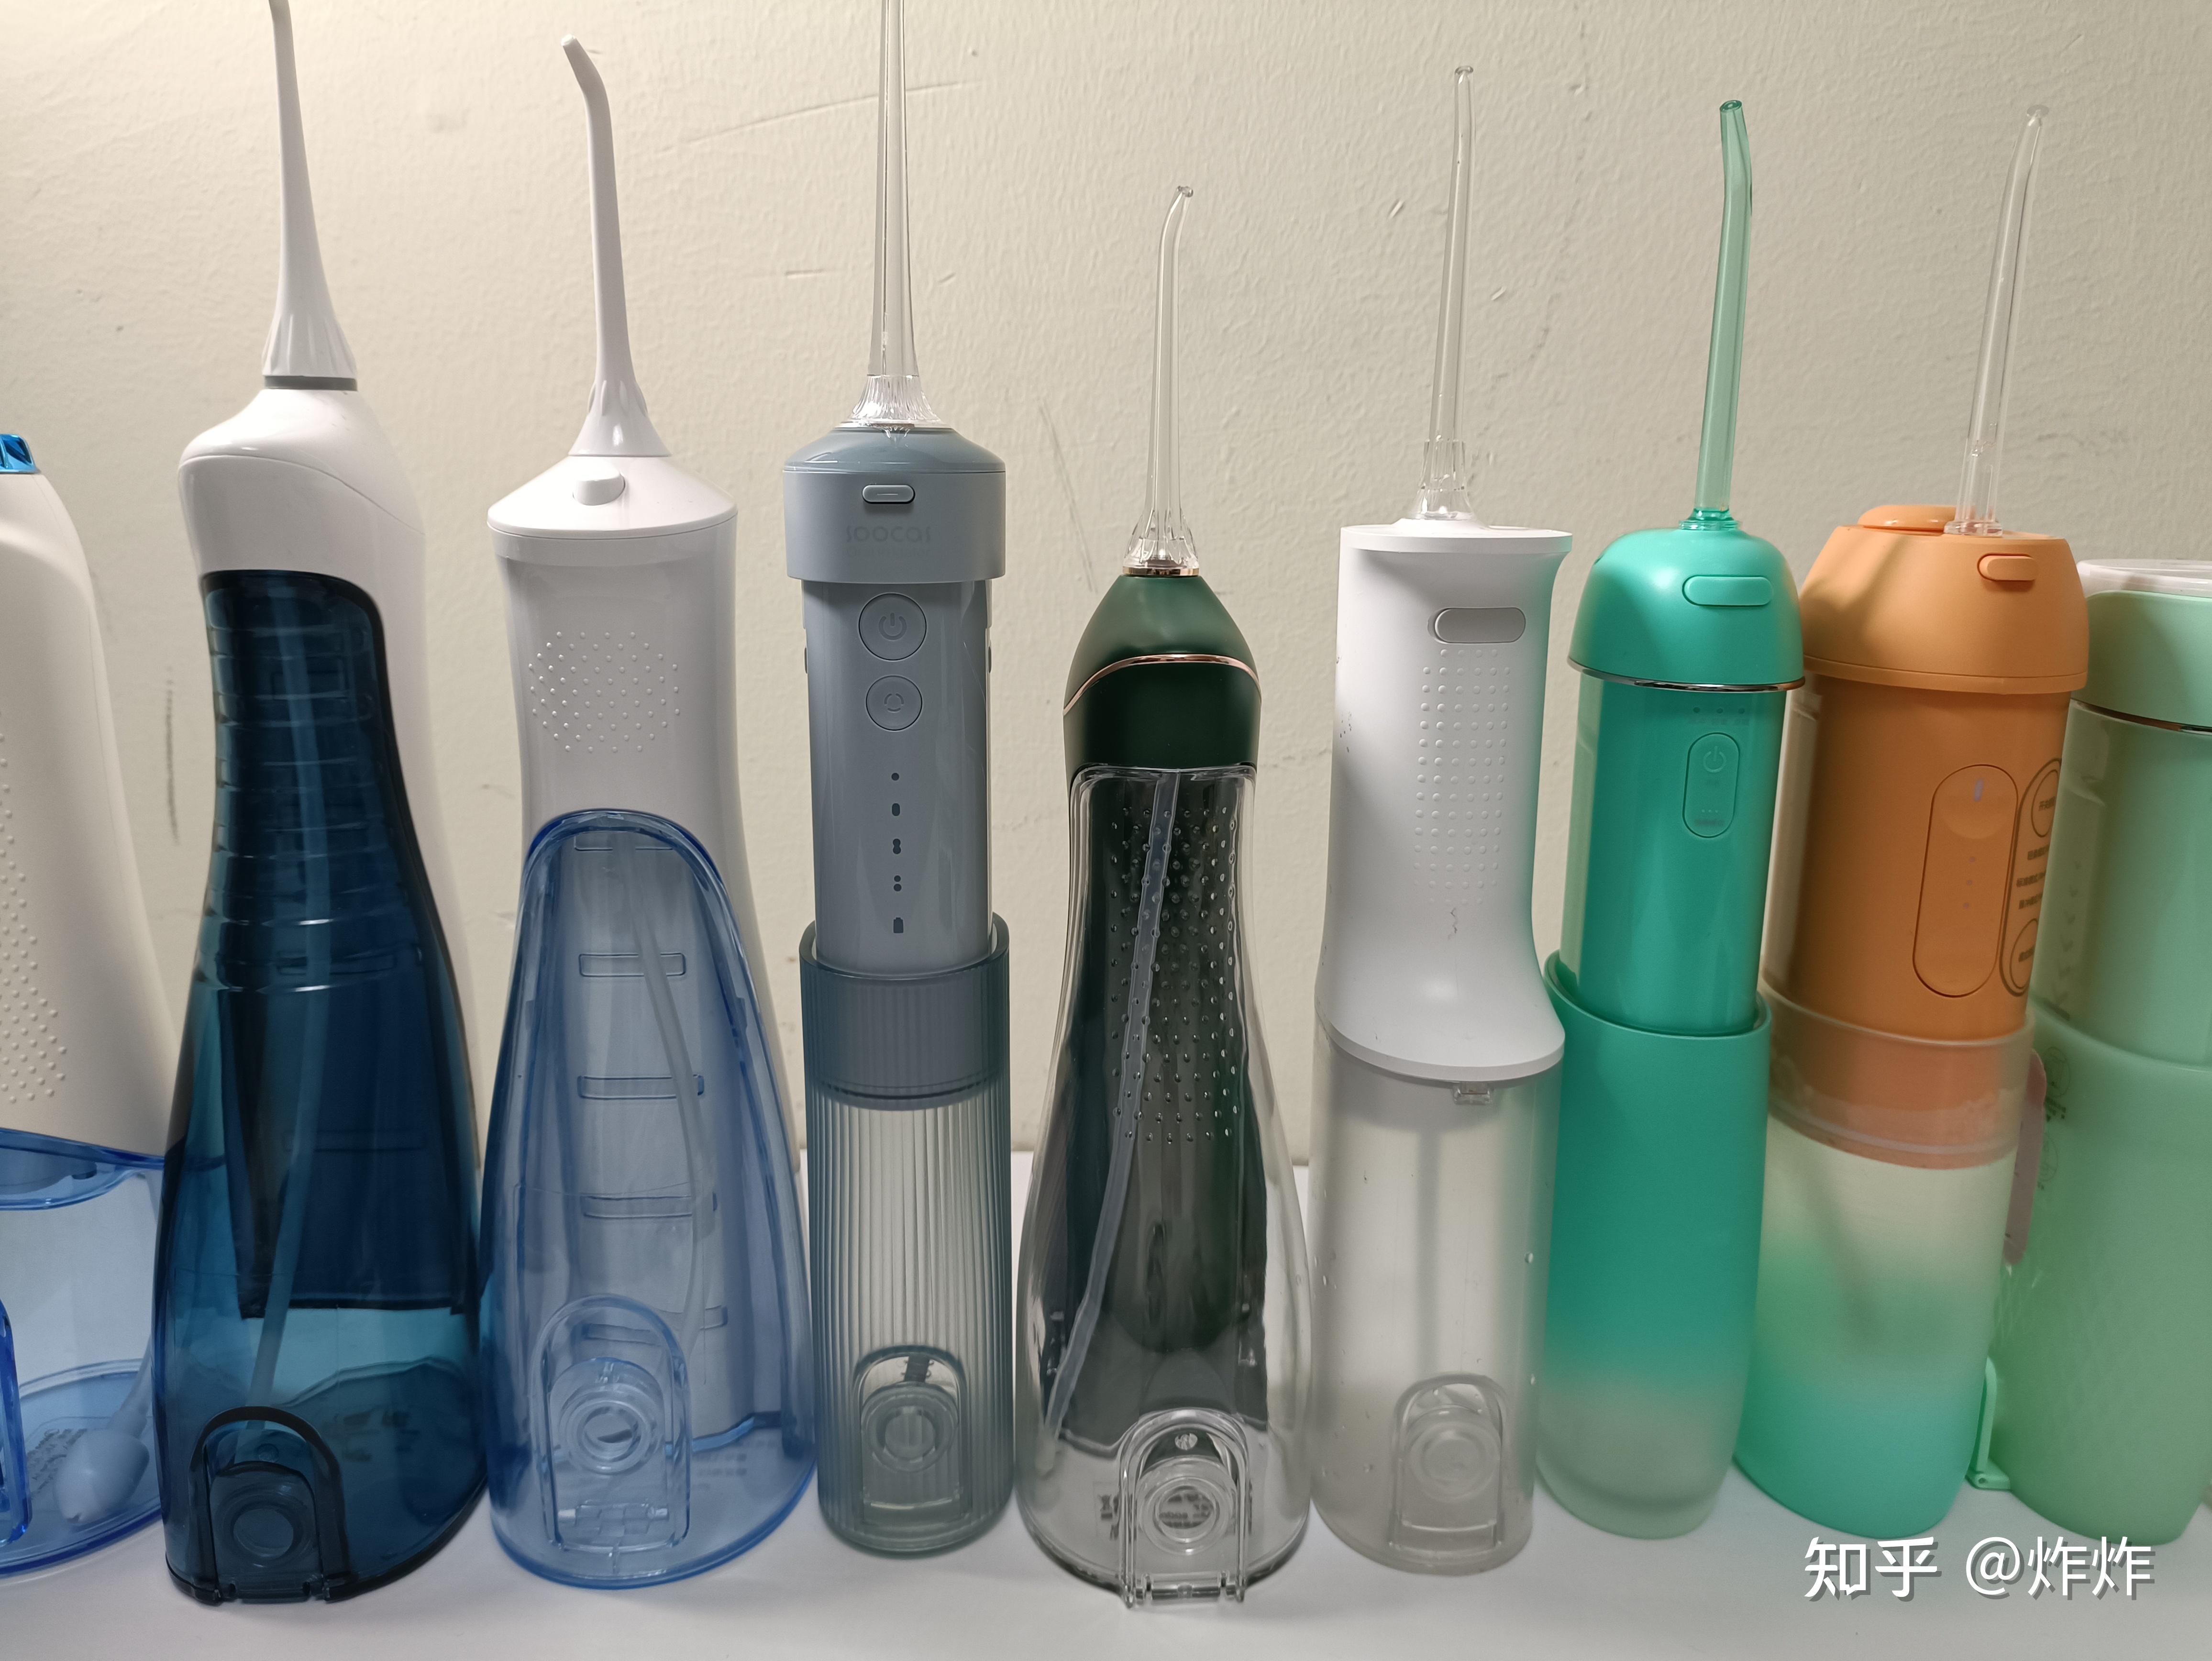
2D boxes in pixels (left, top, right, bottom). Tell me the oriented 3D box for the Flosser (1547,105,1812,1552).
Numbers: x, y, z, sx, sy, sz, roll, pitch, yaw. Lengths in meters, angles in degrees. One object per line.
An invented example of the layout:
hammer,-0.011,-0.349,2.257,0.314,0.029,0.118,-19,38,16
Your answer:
Flosser,0.215,0.082,1.025,0.097,0.382,0.061,1,12,16

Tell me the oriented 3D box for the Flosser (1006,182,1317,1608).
Flosser,0.027,0.021,1.026,0.115,0.508,0.178,2,6,7

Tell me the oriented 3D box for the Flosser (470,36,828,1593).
Flosser,-0.148,-0.007,1.039,0.113,0.552,0.149,1,11,6
